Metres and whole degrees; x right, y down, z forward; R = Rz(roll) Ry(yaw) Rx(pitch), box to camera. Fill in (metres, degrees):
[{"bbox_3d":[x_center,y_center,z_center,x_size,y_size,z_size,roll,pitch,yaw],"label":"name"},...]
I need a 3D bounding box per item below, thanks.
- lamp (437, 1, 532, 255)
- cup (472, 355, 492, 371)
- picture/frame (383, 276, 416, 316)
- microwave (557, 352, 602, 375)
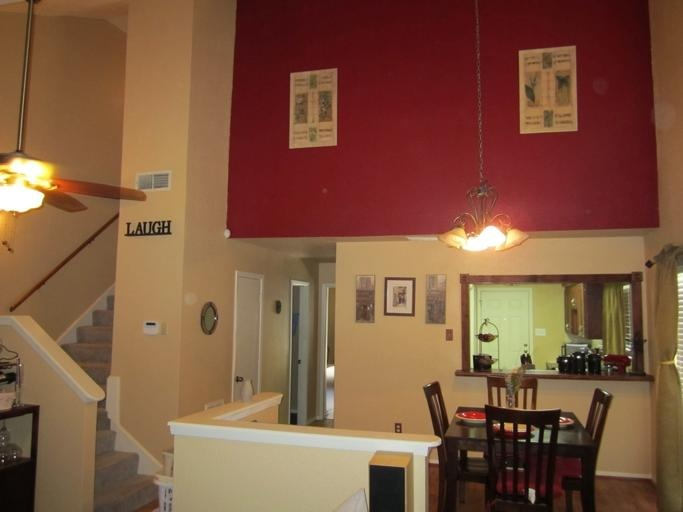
[{"bbox_3d":[1.536,-1.656,6.052,0.771,3.299,2.049,0,-4,15],"label":"lamp"},{"bbox_3d":[1.822,1.379,7.304,0.196,0.209,0.182,1,-5,0],"label":"cup"},{"bbox_3d":[0.797,0.557,7.635,0.433,0.645,0.021,-1,-5,13],"label":"picture/frame"},{"bbox_3d":[2.987,1.340,7.055,0.420,0.310,0.265,-4,-9,26],"label":"microwave"}]
